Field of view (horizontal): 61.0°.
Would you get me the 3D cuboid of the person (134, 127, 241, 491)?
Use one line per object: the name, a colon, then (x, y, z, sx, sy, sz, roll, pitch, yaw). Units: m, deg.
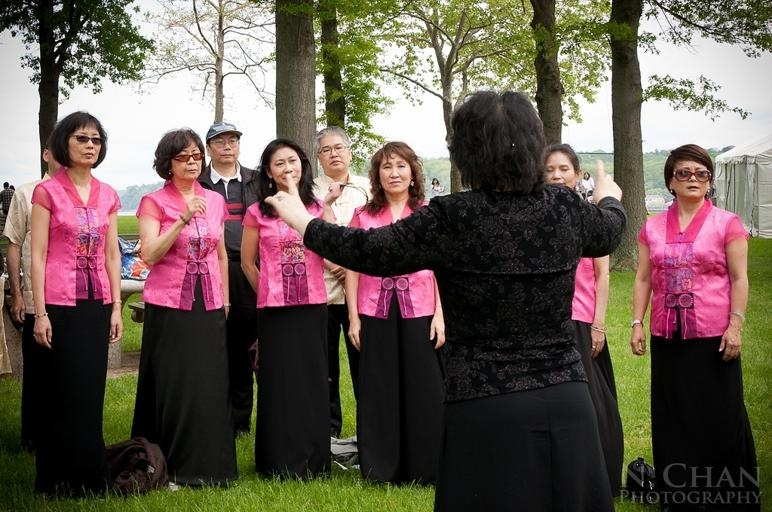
person: (-1.624, 0.408, 5.234, 0.756, 2.843, 0.549, -1, 3, -21)

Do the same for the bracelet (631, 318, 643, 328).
bracelet: (1.950, 0.517, 5.085, 0.089, 0.058, 0.105, 0, -14, 9)

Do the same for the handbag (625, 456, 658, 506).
handbag: (1.964, 1.726, 5.052, 0.276, 0.367, 0.224, 2, -1, 20)

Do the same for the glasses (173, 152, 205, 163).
glasses: (-1.594, -0.792, 5.238, 0.232, 0.078, 0.082, -2, 4, -24)

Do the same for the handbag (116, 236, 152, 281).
handbag: (-2.752, 0.053, 7.084, 0.355, 0.468, 0.141, -4, -23, -8)

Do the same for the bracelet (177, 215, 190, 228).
bracelet: (-1.572, -0.272, 5.028, 0.034, 0.098, 0.071, -45, -3, -18)

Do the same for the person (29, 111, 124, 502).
person: (-2.385, 0.556, 5.033, 0.639, 2.487, 0.350, -1, 3, -25)

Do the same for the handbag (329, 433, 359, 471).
handbag: (-0.383, 1.787, 5.948, 0.221, 0.117, 0.330, 1, 2, 1)
